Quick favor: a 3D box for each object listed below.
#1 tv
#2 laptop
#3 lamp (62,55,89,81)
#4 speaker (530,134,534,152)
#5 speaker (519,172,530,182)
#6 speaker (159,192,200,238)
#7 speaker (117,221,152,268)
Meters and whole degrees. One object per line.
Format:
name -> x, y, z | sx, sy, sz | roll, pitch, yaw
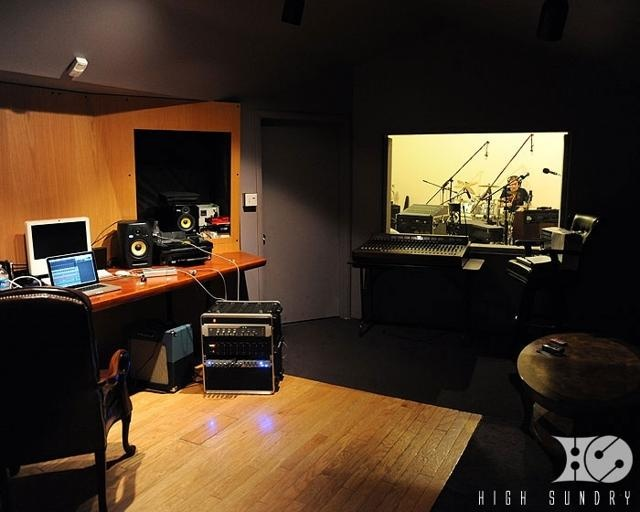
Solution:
tv -> -2.038, -0.069, 3.775 | 0.053, 0.398, 0.423 | -2, 3, 33
laptop -> -1.742, 0.127, 3.625 | 0.402, 0.287, 0.471 | 0, 9, 11
lamp -> -1.848, -1.429, 3.689 | 0.108, 0.106, 0.186 | 11, 21, -35
speaker -> 2.067, -1.106, 4.776 | 0.046, 0.167, 0.021 | 6, 13, 27
speaker -> 2.005, -0.785, 4.821 | 0.128, 0.053, 0.050 | -31, 52, -18
speaker -> -1.320, -0.471, 4.785 | 0.239, 0.400, 0.422 | -2, 32, -15
speaker -> -1.624, -0.159, 4.368 | 0.282, 0.456, 0.261 | 1, 33, -12
